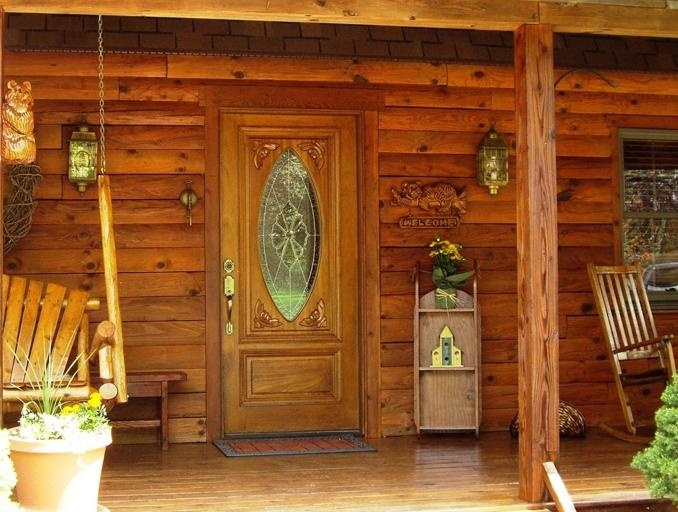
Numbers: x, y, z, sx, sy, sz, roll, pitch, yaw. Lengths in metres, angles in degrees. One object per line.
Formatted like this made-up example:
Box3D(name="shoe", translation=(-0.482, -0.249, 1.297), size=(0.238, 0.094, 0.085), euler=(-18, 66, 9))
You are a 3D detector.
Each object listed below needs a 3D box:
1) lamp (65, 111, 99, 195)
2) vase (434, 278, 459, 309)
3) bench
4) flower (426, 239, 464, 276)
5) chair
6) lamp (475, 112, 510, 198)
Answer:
Box3D(name="lamp", translation=(-2.018, -0.776, 5.561), size=(0.203, 0.578, 0.094), euler=(0, -1, -12))
Box3D(name="vase", translation=(0.877, 0.319, 5.762), size=(0.202, 0.201, 0.081), euler=(-2, 4, 1))
Box3D(name="bench", translation=(-1.598, 1.169, 5.371), size=(0.735, 0.517, 0.632), euler=(1, -2, -13))
Box3D(name="flower", translation=(0.905, 0.004, 5.867), size=(0.317, 0.239, 0.317), euler=(-5, -4, -26))
Box3D(name="chair", translation=(2.470, 0.779, 5.937), size=(0.719, 1.412, 0.961), euler=(-1, -1, 17))
Box3D(name="lamp", translation=(1.331, -0.813, 6.052), size=(0.308, 0.603, 0.155), euler=(0, -1, -3))
